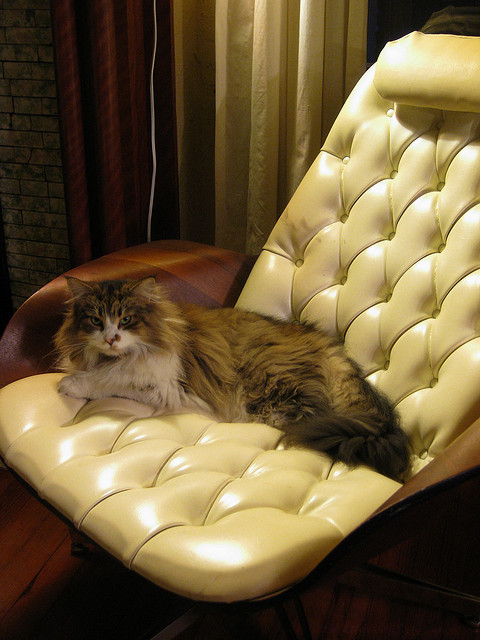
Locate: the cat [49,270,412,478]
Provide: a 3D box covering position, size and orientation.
[{"bbox_3d":[-0.025,0.120,0.969,0.502,0.190,0.361,8,18,-16],"label":"cat"}]
